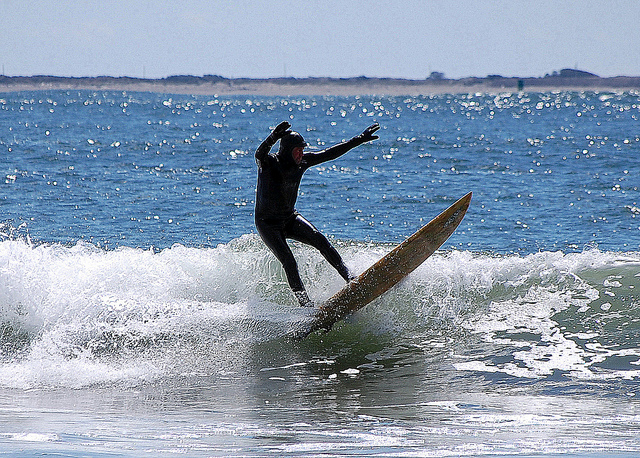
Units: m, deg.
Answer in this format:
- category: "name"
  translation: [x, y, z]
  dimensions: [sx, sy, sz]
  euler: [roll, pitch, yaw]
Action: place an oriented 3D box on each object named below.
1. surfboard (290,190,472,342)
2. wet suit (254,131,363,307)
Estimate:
- category: "surfboard"
  translation: [1.138, 0.775, 26.182]
  dimensions: [4.348, 0.518, 0.334]
  euler: [-35, 46, 6]
- category: "wet suit"
  translation: [-0.356, -0.218, 24.899]
  dimensions: [1.579, 3.058, 1.329]
  euler: [1, 23, -4]
